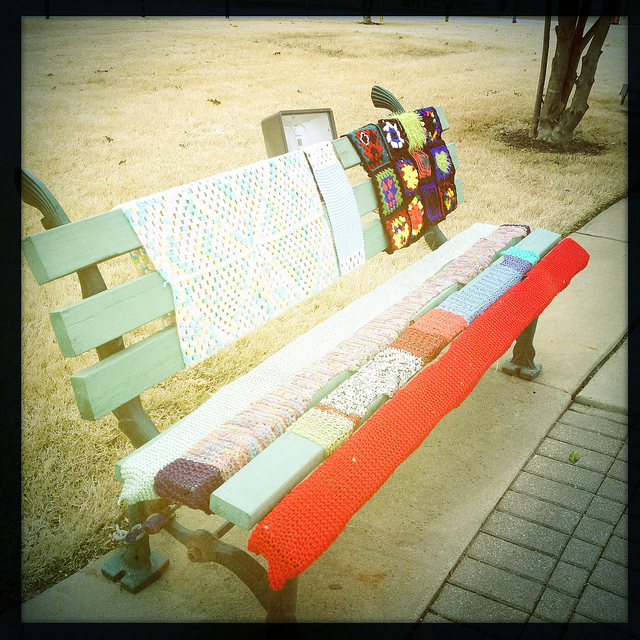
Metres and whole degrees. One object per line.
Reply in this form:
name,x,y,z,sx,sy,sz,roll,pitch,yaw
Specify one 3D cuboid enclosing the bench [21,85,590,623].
bench,-0.112,0.094,2.133,1.005,1.236,2.147,23,42,28
